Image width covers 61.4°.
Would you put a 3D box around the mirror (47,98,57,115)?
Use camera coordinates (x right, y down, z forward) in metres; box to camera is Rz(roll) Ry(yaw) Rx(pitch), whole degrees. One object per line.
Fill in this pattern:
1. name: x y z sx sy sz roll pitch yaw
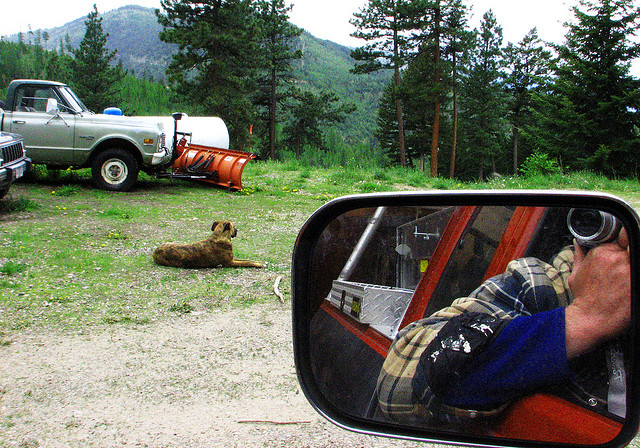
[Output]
1. mirror: -5.946 -2.613 12.011 0.192 0.340 0.436 2 9 -27

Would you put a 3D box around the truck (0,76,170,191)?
1. truck: -5.397 -2.087 12.955 3.423 1.674 2.369 2 11 -9

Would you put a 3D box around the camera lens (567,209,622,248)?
1. camera lens: 1.283 0.021 2.525 0.226 0.171 0.071 10 8 26

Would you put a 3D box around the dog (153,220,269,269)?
1. dog: -1.568 0.313 7.800 1.570 0.767 0.535 -1 0 -24
